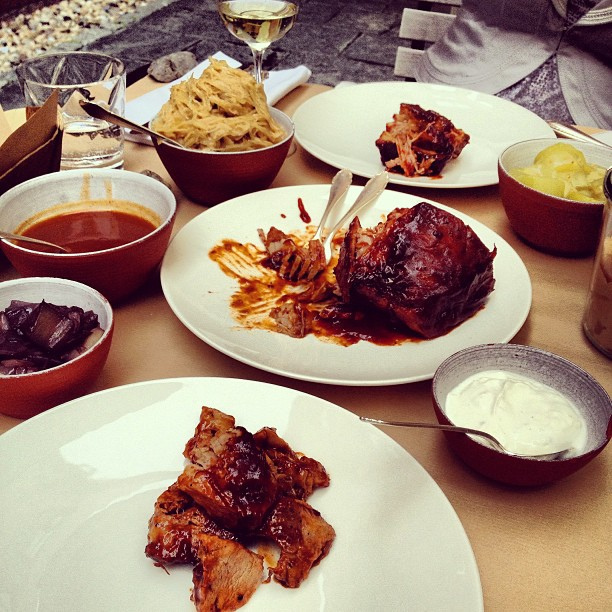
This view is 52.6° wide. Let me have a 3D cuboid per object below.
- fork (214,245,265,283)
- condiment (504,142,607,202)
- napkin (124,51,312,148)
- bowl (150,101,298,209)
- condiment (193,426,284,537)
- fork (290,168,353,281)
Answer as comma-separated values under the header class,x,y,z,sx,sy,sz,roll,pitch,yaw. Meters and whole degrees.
class,x,y,z,sx,sy,sz,roll,pitch,yaw
fork,-0.170,-0.108,1.498,0.104,0.141,0.016,14,83,23
condiment,0.627,-0.321,1.521,0.226,0.067,0.192,1,36,1
napkin,-0.324,-0.757,2.193,0.445,0.087,0.656,29,48,30
bowl,-0.253,-0.384,1.708,0.307,0.134,0.310,4,25,-2
condiment,-0.100,0.261,0.932,0.126,0.043,0.140,-9,60,-25
fork,0.085,-0.243,1.647,0.084,0.059,0.502,23,42,5
